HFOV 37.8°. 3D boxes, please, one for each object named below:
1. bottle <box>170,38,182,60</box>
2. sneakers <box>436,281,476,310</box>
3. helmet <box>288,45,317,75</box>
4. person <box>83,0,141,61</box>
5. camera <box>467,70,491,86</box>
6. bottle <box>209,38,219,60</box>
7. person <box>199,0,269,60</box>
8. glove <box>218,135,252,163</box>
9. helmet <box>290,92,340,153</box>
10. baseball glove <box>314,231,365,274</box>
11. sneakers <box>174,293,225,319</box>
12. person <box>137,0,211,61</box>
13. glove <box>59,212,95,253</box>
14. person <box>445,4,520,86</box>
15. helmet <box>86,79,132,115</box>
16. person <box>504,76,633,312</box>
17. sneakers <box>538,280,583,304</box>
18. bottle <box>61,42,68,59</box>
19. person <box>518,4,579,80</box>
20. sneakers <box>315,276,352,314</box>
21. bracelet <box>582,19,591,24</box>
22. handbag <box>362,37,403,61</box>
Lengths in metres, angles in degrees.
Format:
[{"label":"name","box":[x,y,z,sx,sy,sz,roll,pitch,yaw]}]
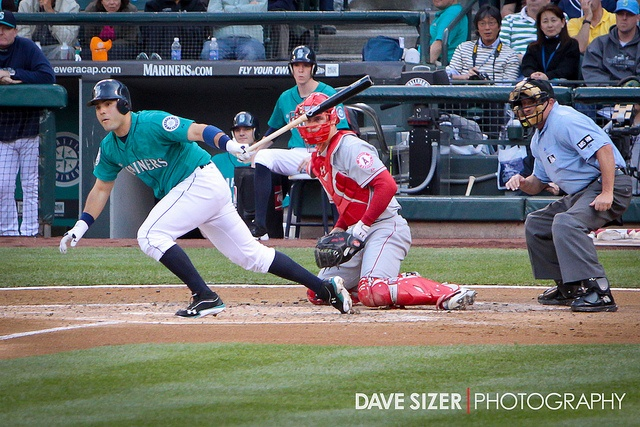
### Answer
[{"label":"bottle","box":[-1.940,-2.220,12.567,0.135,0.301,0.283,-2,7,-9]},{"label":"sneakers","box":[1.070,0.652,7.358,0.275,0.106,0.198,3,13,11]},{"label":"helmet","box":[-0.178,-1.614,9.825,0.275,0.304,0.256,-2,6,-5]},{"label":"person","box":[-2.794,-2.467,12.730,0.746,0.879,0.322,-1,11,-1]},{"label":"camera","box":[1.985,-1.673,11.552,0.279,0.087,0.179,-5,36,-31]},{"label":"bottle","box":[-1.424,-2.195,12.459,0.147,0.321,0.232,-2,7,-6]},{"label":"person","box":[-1.156,-2.505,12.715,0.848,0.886,0.737,0,6,5]},{"label":"glove","box":[-0.646,-0.497,7.220,0.216,0.083,0.136,40,13,19]},{"label":"helmet","box":[-0.054,-0.733,7.470,0.363,0.379,0.449,-11,12,33]},{"label":"baseball glove","box":[0.156,0.320,7.486,0.376,0.149,0.255,-18,46,3]},{"label":"sneakers","box":[-0.906,0.711,7.261,0.418,0.162,0.139,-6,13,-19]},{"label":"person","box":[-2.002,-2.508,12.740,1.043,0.822,0.372,0,9,-4]},{"label":"glove","box":[-1.985,0.168,7.731,0.261,0.384,0.116,16,-27,24]},{"label":"person","box":[2.049,-2.136,11.773,0.891,0.915,0.614,0,7,6]},{"label":"helmet","box":[-1.624,-0.919,7.397,0.271,0.247,0.347,-6,0,44]},{"label":"person","box":[2.076,-0.174,7.648,0.683,1.853,0.923,-7,9,-41]},{"label":"sneakers","box":[1.976,0.656,7.657,0.414,0.183,0.164,0,4,7]},{"label":"bottle","box":[-3.453,-2.195,12.605,0.122,0.240,0.219,-3,7,-15]},{"label":"person","box":[2.781,-2.059,11.272,0.671,0.859,0.450,0,7,10]},{"label":"sneakers","box":[0.118,0.641,7.345,0.199,0.370,0.135,-21,30,14]},{"label":"bracelet","box":[3.398,-2.447,11.901,0.089,0.051,0.083,2,-6,38]},{"label":"handbag","box":[0.823,-2.149,12.297,0.507,0.413,0.330,8,18,4]}]
